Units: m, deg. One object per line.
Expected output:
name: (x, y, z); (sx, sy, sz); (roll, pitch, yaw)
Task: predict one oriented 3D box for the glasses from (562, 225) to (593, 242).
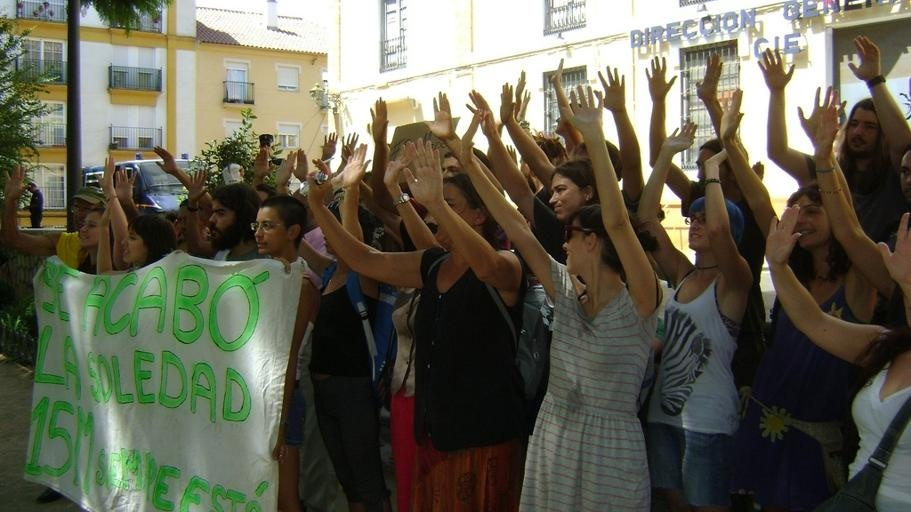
glasses: (1.069, -0.212, 7.128); (0.134, 0.138, 0.316); (-3, 6, -34)
